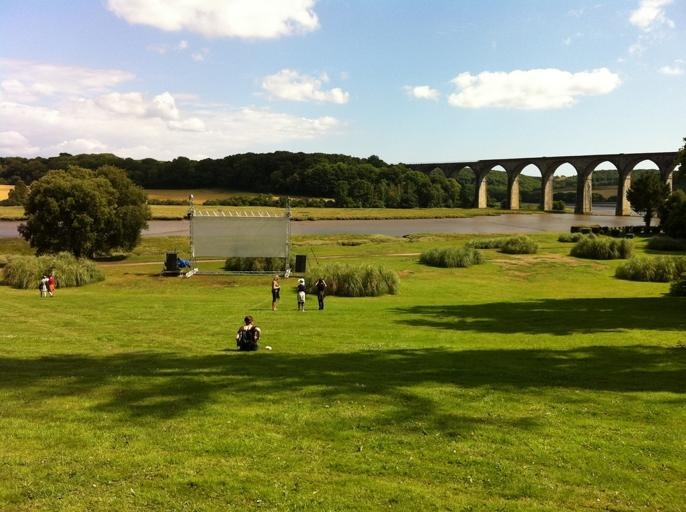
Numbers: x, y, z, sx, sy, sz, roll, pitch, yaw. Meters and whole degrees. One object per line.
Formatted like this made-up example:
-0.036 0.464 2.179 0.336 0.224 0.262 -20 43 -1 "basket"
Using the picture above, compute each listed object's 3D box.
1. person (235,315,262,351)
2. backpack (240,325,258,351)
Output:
-3.056 2.537 22.801 0.876 1.326 0.749 3 11 10 "person"
-2.914 2.570 21.872 0.638 0.685 0.322 4 -12 -2 "backpack"
